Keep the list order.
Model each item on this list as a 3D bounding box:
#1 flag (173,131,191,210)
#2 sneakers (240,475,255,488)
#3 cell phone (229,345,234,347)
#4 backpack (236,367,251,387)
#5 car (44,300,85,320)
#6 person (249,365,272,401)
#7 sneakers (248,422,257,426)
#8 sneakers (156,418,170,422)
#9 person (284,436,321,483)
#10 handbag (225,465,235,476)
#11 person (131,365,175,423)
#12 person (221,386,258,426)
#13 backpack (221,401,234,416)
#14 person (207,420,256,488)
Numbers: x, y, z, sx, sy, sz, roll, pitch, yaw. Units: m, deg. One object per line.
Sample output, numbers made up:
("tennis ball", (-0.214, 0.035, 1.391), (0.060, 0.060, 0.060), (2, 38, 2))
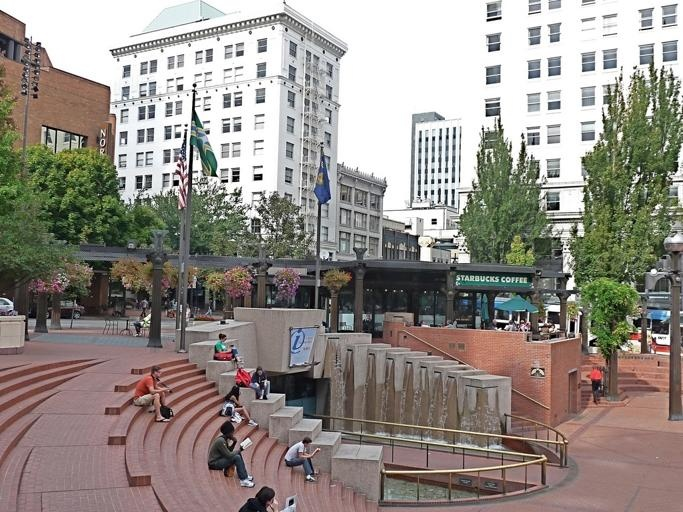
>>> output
("flag", (-7.912, -4.262, 36.134), (0.558, 3.979, 3.342), (1, -3, -13))
("sneakers", (-3.139, 7.532, 24.336), (0.370, 0.147, 0.276), (-1, 7, -4))
("cell phone", (-5.083, 4.161, 33.809), (0.108, 0.115, 0.112), (3, -6, -18))
("backpack", (-4.114, 5.085, 30.544), (0.423, 0.790, 0.750), (-5, -3, 31))
("car", (-21.313, 4.196, 57.423), (1.535, 1.344, 5.043), (2, -4, -22))
("person", (-3.683, 5.464, 31.098), (0.860, 1.587, 1.125), (3, -8, -38))
("sneakers", (-3.593, 6.784, 29.545), (0.312, 0.145, 0.132), (0, 0, 24))
("sneakers", (-6.272, 5.731, 25.586), (0.306, 0.124, 0.176), (-2, -1, 5))
("person", (-1.584, 7.697, 27.924), (1.139, 1.546, 1.416), (1, -3, -7))
("handbag", (-3.733, 7.171, 24.353), (0.240, 0.405, 0.385), (9, -16, -43))
("person", (-6.679, 4.871, 25.924), (1.326, 1.878, 0.711), (0, -3, 4))
("person", (-4.049, 5.870, 29.104), (1.376, 1.447, 0.781), (4, 2, 20))
("backpack", (-4.498, 6.052, 28.900), (0.518, 0.653, 0.355), (3, -1, 1))
("person", (-3.734, 6.627, 24.463), (1.497, 2.162, 0.602), (1, -3, -11))
